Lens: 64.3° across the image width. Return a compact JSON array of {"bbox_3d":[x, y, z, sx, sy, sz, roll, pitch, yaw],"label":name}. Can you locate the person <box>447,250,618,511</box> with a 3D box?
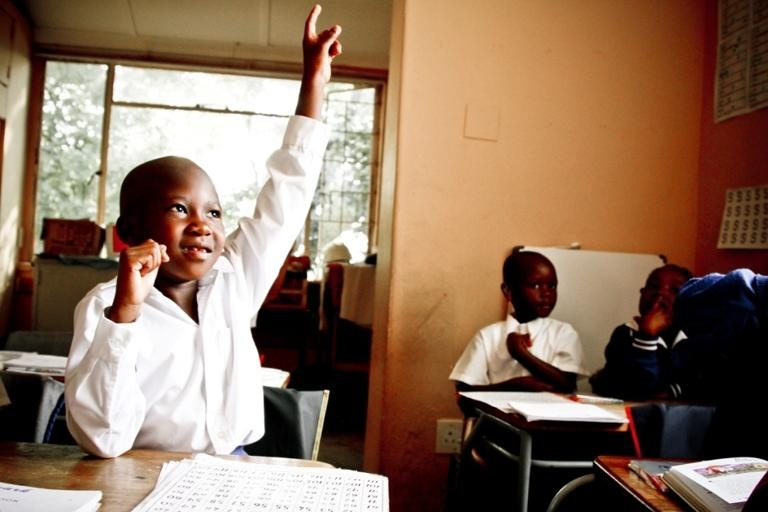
[{"bbox_3d":[0.615,0.548,2.619,0.661,1.034,0.697,5,2,7],"label":"person"}]

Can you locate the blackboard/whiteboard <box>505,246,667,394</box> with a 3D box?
[{"bbox_3d":[0.874,0.309,2.731,0.700,0.629,0.067,3,-13,-12],"label":"blackboard/whiteboard"}]

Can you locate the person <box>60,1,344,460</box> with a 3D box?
[{"bbox_3d":[-0.477,-0.076,1.695,0.669,1.405,0.394,4,2,-27],"label":"person"}]
